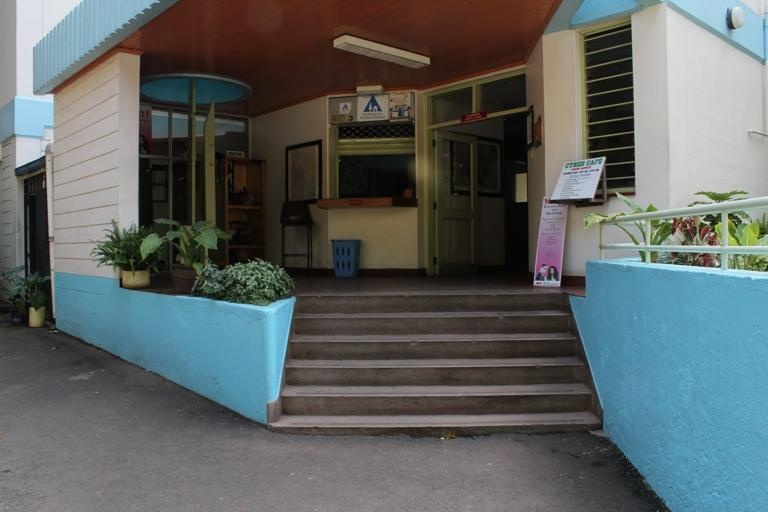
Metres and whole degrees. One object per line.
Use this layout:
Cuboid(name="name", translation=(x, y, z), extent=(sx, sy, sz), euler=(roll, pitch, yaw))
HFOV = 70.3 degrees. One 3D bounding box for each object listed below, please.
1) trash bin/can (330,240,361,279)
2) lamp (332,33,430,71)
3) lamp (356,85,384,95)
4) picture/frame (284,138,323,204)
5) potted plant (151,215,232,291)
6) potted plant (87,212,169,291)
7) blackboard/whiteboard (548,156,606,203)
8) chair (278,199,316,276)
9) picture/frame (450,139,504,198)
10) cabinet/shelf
Cuboid(name="trash bin/can", translation=(-0.688, 0.071, 9.167), extent=(0.452, 0.585, 0.388), euler=(3, -12, -16))
Cuboid(name="lamp", translation=(-0.021, -2.814, 7.524), extent=(1.409, 0.375, 0.296), euler=(-11, 18, -29))
Cuboid(name="lamp", translation=(-0.224, -2.717, 8.968), extent=(0.432, 0.145, 0.167), euler=(-1, 16, 2))
Cuboid(name="picture/frame", translation=(-1.387, -1.493, 9.605), extent=(1.114, 1.350, 0.054), euler=(4, 4, 45))
Cuboid(name="potted plant", translation=(-2.502, 0.090, 6.731), extent=(1.012, 0.750, 0.998), euler=(9, -12, -32))
Cuboid(name="potted plant", translation=(-3.367, 0.010, 7.452), extent=(0.820, 0.881, 1.019), euler=(4, -3, 4))
Cuboid(name="blackboard/whiteboard", translation=(2.427, -0.938, 6.750), extent=(0.518, 0.534, 0.282), euler=(-1, -17, 44))
Cuboid(name="chair", translation=(-1.565, -0.312, 9.745), extent=(0.608, 1.220, 0.610), euler=(0, 3, 15))
Cuboid(name="picture/frame", translation=(1.572, -1.547, 9.602), extent=(1.031, 0.650, 0.031), euler=(3, 8, 16))
Cuboid(name="cabinet/shelf", translation=(-2.637, -0.705, 10.120), extent=(0.842, 2.346, 0.602), euler=(-5, 22, -26))
